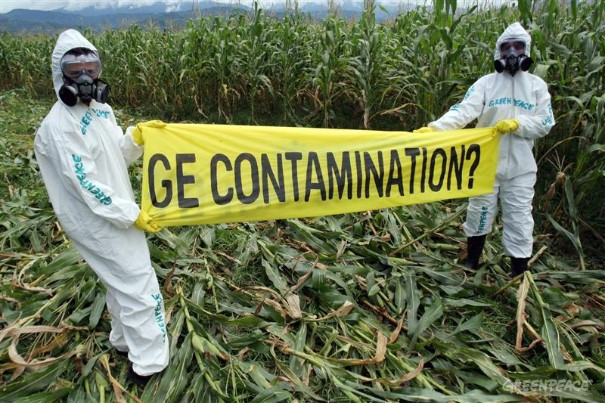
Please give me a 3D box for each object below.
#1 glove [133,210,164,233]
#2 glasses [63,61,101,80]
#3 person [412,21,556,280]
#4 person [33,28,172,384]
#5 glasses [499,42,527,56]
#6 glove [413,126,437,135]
[{"bbox_3d":[-1.468,0.198,4.490,0.222,0.169,0.089,21,71,26],"label":"glove"},{"bbox_3d":[-2.012,-1.182,4.341,0.330,0.160,0.131,-10,23,-19],"label":"glasses"},{"bbox_3d":[2.195,-0.573,5.458,1.110,2.740,0.843,8,25,24],"label":"person"},{"bbox_3d":[-1.870,0.097,4.401,0.934,3.163,1.198,-10,24,-17],"label":"person"},{"bbox_3d":[2.321,-1.690,5.268,0.158,0.186,0.073,1,55,18],"label":"glasses"},{"bbox_3d":[1.380,-0.789,5.468,0.342,0.118,0.093,-3,45,-20],"label":"glove"}]
